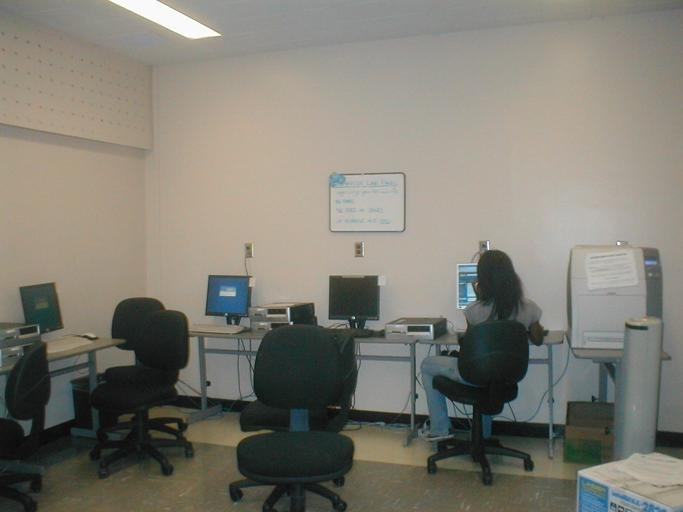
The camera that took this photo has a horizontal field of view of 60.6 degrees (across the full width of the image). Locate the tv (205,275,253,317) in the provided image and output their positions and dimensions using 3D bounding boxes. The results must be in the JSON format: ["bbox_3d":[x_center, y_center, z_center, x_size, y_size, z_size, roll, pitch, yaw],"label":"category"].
[{"bbox_3d":[-1.087,0.386,5.743,0.361,0.293,0.040,4,-6,20],"label":"tv"}]

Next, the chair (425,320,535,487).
[{"bbox_3d":[1.077,1.088,4.561,0.748,1.230,0.457,0,1,26],"label":"chair"}]

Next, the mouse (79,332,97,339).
[{"bbox_3d":[-2.237,0.701,5.213,0.134,0.046,0.076,3,2,20],"label":"mouse"}]

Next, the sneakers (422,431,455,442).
[{"bbox_3d":[0.804,1.458,4.854,0.246,0.110,0.097,2,-1,6],"label":"sneakers"}]

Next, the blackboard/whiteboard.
[{"bbox_3d":[0.277,-0.525,5.558,0.536,0.408,0.020,0,-2,14],"label":"blackboard/whiteboard"}]

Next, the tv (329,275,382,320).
[{"bbox_3d":[0.118,0.379,5.465,0.452,0.400,0.163,0,1,-6],"label":"tv"}]

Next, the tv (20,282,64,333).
[{"bbox_3d":[-2.575,0.437,5.022,0.053,0.512,0.450,-12,-4,25],"label":"tv"}]

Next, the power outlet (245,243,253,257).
[{"bbox_3d":[-0.936,-0.063,5.891,0.097,0.141,0.030,0,1,26],"label":"power outlet"}]

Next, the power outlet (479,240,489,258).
[{"bbox_3d":[1.281,-0.069,5.270,0.139,0.139,0.037,2,-4,19],"label":"power outlet"}]
